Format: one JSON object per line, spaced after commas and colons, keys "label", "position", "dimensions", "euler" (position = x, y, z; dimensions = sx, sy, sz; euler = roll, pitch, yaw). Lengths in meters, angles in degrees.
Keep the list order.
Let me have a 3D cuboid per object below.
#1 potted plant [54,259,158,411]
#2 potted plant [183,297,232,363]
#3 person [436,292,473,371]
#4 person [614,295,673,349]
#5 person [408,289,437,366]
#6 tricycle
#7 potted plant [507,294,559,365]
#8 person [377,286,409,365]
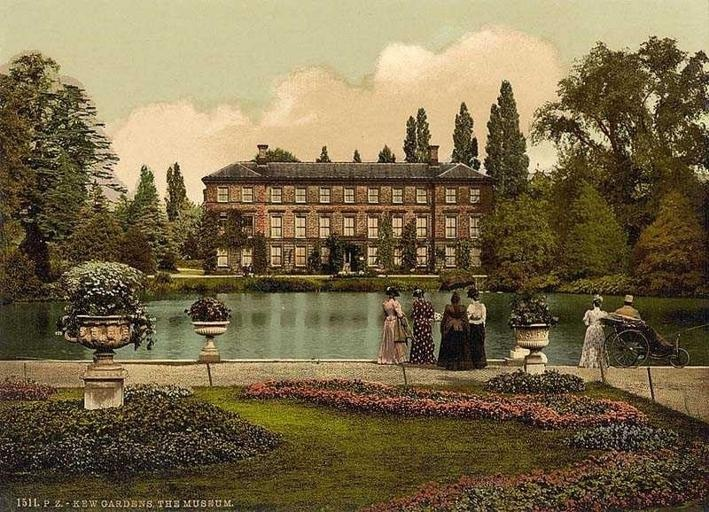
{"label": "potted plant", "position": [-5.316, 1.724, 21.491], "dimensions": [1.901, 3.148, 1.292], "euler": [0, 0, -16]}
{"label": "potted plant", "position": [-4.132, 2.079, 28.282], "dimensions": [1.630, 2.095, 1.669], "euler": [-1, -1, 22]}
{"label": "person", "position": [2.666, 2.130, 26.232], "dimensions": [0.865, 1.858, 0.492], "euler": [1, 14, 6]}
{"label": "person", "position": [7.750, 1.778, 26.724], "dimensions": [1.549, 1.472, 0.807], "euler": [3, 15, 15]}
{"label": "person", "position": [1.866, 1.901, 27.229], "dimensions": [0.726, 2.123, 0.976], "euler": [0, 14, 4]}
{"label": "tricycle", "position": [7.992, 2.348, 27.185], "dimensions": [2.181, 1.324, 0.969], "euler": [-1, -3, 4]}
{"label": "potted plant", "position": [4.554, 2.018, 25.753], "dimensions": [1.076, 2.202, 1.791], "euler": [1, 15, 9]}
{"label": "person", "position": [1.032, 2.020, 26.822], "dimensions": [0.758, 1.916, 0.486], "euler": [-1, 14, 1]}
